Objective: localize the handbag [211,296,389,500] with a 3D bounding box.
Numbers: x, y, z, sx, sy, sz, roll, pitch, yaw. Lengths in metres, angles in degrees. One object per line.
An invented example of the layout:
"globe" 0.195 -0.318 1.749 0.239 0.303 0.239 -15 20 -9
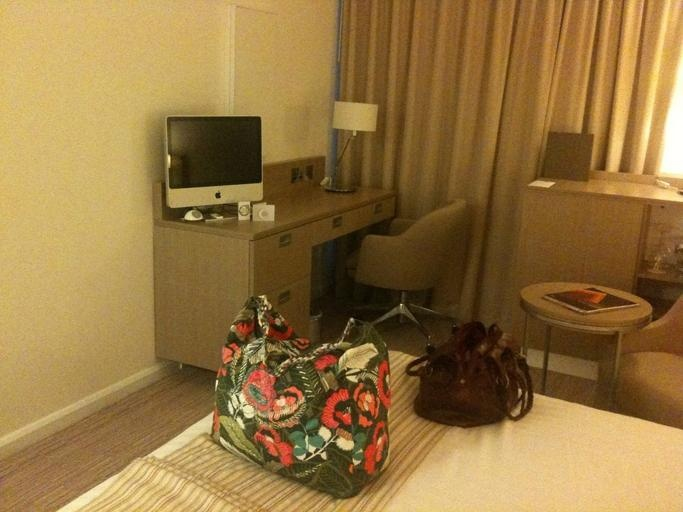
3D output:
"handbag" -0.148 0.433 1.636 0.611 0.504 0.338 13 3 24

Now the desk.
"desk" -0.406 0.008 3.036 0.573 0.821 1.389 8 17 25

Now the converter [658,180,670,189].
"converter" 2.115 -0.480 3.557 0.070 0.029 0.069 -23 35 -26

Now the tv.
"tv" -0.741 -0.509 3.076 0.604 0.525 0.229 -11 15 -43

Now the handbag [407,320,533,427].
"handbag" 0.477 0.406 1.918 0.420 0.230 0.322 -7 10 -29

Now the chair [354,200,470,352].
"chair" 0.616 0.023 4.174 1.014 1.142 0.915 9 17 29
